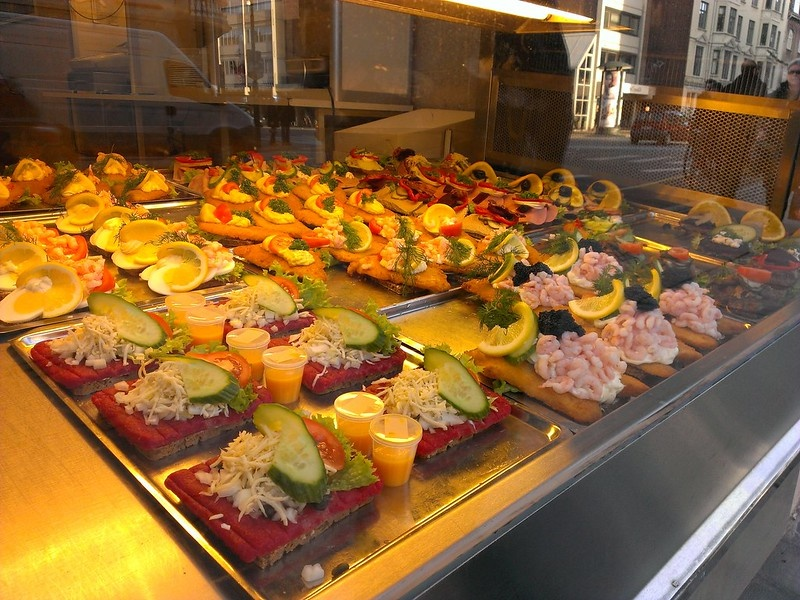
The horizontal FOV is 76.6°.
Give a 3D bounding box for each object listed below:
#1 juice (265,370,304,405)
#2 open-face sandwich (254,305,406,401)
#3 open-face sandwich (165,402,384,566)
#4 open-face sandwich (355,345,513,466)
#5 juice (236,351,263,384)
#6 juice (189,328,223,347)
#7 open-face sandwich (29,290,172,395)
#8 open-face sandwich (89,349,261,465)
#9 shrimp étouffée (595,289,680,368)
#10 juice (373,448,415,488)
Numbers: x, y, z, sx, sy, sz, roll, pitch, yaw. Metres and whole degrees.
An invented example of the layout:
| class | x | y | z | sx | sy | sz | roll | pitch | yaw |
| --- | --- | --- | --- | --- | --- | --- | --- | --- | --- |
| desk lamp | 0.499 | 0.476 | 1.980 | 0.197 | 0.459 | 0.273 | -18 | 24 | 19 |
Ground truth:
| class | x | y | z | sx | sy | sz | roll | pitch | yaw |
| --- | --- | --- | --- | --- | --- | --- | --- | --- | --- |
| juice | -0.264 | 0.197 | 1.159 | 0.090 | 0.079 | 0.082 | -4 | 19 | -13 |
| open-face sandwich | -0.131 | 0.126 | 1.261 | 0.249 | 0.087 | 0.237 | -14 | 36 | -22 |
| open-face sandwich | -0.204 | 0.322 | 0.854 | 0.293 | 0.094 | 0.287 | -23 | 43 | -39 |
| open-face sandwich | 0.074 | 0.227 | 1.141 | 0.261 | 0.089 | 0.281 | 25 | 36 | 38 |
| juice | -0.354 | 0.158 | 1.228 | 0.074 | 0.055 | 0.075 | -1 | 14 | -6 |
| juice | -0.477 | 0.089 | 1.273 | 0.064 | 0.046 | 0.066 | -2 | 7 | -29 |
| open-face sandwich | -0.726 | 0.098 | 1.230 | 0.240 | 0.103 | 0.301 | 29 | 21 | 18 |
| open-face sandwich | -0.450 | 0.217 | 1.055 | 0.278 | 0.086 | 0.205 | -22 | 37 | -38 |
| shrimp étouffée | 0.658 | 0.081 | 1.417 | 0.173 | 0.107 | 0.219 | -3 | 35 | 1 |
| juice | -0.009 | 0.310 | 1.012 | 0.088 | 0.088 | 0.083 | -4 | 25 | -9 |
